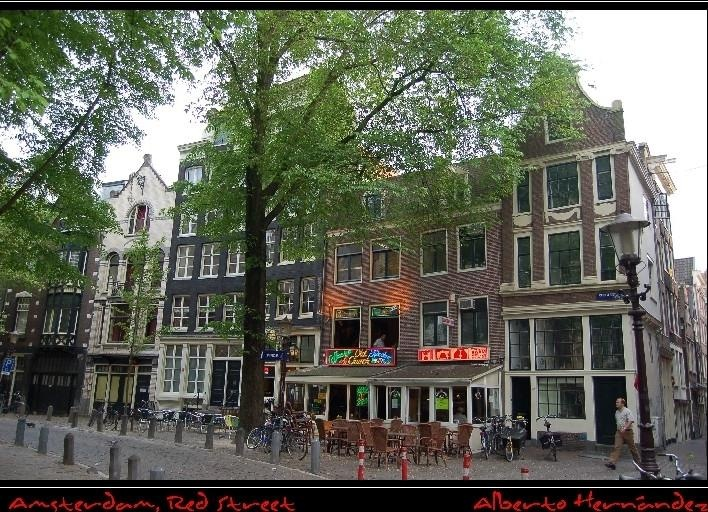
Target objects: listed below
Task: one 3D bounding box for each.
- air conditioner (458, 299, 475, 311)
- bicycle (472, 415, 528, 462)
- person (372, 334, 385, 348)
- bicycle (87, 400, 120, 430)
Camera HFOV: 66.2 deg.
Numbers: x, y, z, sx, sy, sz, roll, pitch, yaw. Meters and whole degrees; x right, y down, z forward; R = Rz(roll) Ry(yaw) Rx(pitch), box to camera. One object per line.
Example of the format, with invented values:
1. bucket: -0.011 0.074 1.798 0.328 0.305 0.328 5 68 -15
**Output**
1. air conditioner: 4.187 1.842 20.227 0.683 0.366 0.481 -7 -12 38
2. bicycle: 4.673 5.543 16.551 1.079 1.001 1.718 -6 -12 32
3. person: 0.857 2.892 18.431 0.447 0.547 0.792 0 -16 3
4. bicycle: -8.513 5.402 18.246 0.806 0.901 1.503 14 -32 -18
